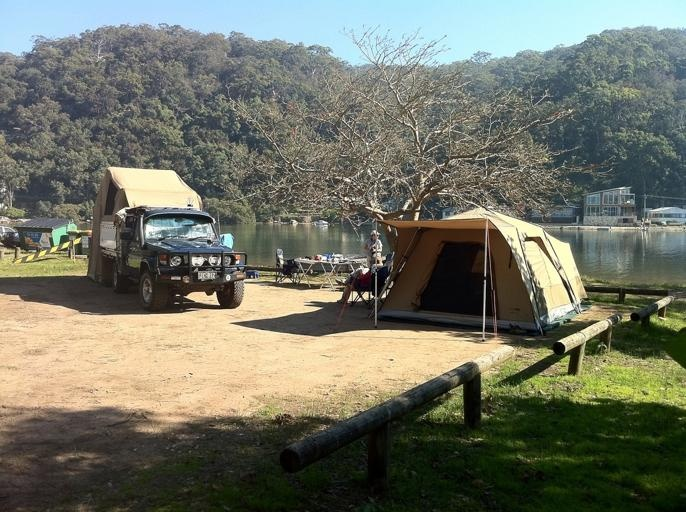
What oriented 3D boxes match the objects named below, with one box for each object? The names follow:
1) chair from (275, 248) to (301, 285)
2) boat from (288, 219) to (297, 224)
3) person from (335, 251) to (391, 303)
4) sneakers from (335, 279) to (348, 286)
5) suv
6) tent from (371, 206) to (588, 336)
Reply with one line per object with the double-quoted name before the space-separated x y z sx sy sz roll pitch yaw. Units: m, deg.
"chair" -1.870 0.317 18.155 0.961 0.972 0.845 6 5 4
"boat" -9.224 -6.334 97.540 1.374 0.957 2.041 1 1 -6
"person" 0.505 0.596 12.388 1.383 1.162 0.842 2 -4 3
"sneakers" -0.086 0.812 16.103 0.468 0.145 0.298 7 -1 -4
"suv" -4.226 -0.069 13.126 2.012 1.625 3.910 1 0 -36
"tent" 2.863 0.210 11.074 4.184 2.515 2.313 2 1 3
